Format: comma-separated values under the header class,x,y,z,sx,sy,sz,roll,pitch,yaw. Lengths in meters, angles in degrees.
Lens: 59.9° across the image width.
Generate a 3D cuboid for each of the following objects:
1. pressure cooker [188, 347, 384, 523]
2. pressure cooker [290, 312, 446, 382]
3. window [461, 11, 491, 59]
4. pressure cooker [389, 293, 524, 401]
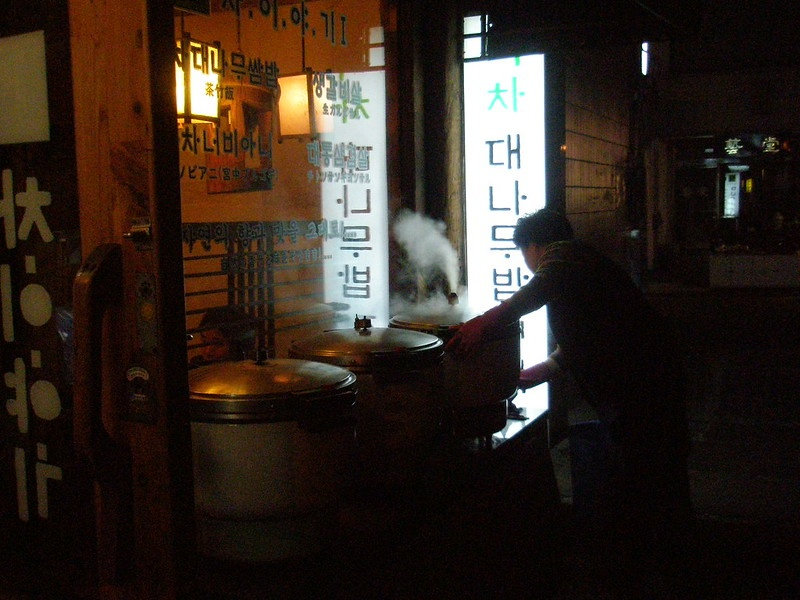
class,x,y,z,sx,sy,sz,roll,pitch,yaw
pressure cooker,-0.591,0.553,3.110,0.729,0.656,0.795,-5,10,-34
pressure cooker,-0.166,0.252,3.638,0.769,0.345,0.891,0,2,30
window,0.561,-2.019,5.289,0.259,0.293,0.074,2,6,28
pressure cooker,0.392,0.237,3.999,0.565,0.445,0.597,-3,5,-9
